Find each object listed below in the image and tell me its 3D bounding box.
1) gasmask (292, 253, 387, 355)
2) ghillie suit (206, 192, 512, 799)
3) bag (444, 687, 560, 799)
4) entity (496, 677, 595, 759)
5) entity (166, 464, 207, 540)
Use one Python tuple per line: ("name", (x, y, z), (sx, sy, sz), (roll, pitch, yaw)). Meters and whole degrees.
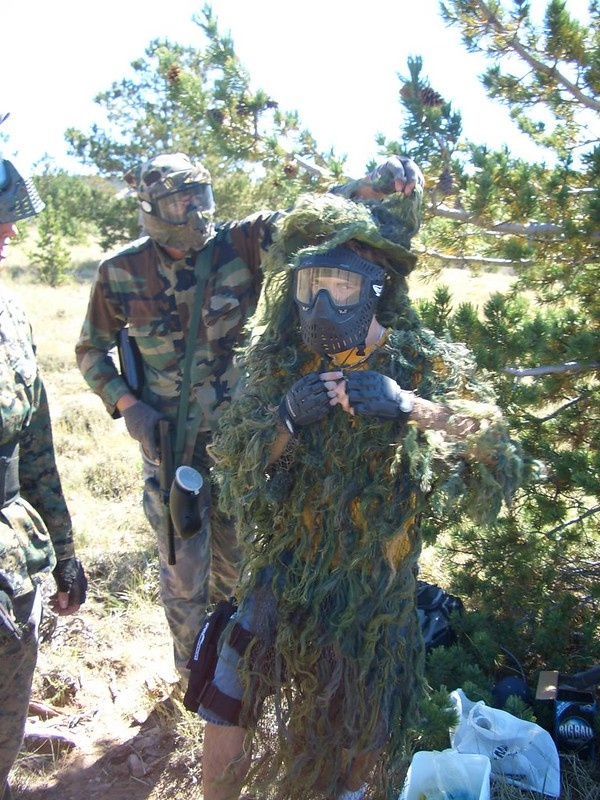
("gasmask", (0.111, -0.282, 1.954), (0.243, 0.271, 0.304), (5, 11, 20))
("ghillie suit", (0.142, 0.267, 2.063), (0.869, 1.783, 0.511), (7, 6, 2))
("bag", (0.748, 1.298, 2.672), (0.276, 0.175, 0.497), (-22, 38, -19))
("entity", (0.972, 1.206, 2.794), (0.366, 0.367, 0.258), (-3, 0, 18))
("entity", (-0.439, 0.390, 2.648), (0.167, 0.349, 0.139), (-7, 41, -20))
